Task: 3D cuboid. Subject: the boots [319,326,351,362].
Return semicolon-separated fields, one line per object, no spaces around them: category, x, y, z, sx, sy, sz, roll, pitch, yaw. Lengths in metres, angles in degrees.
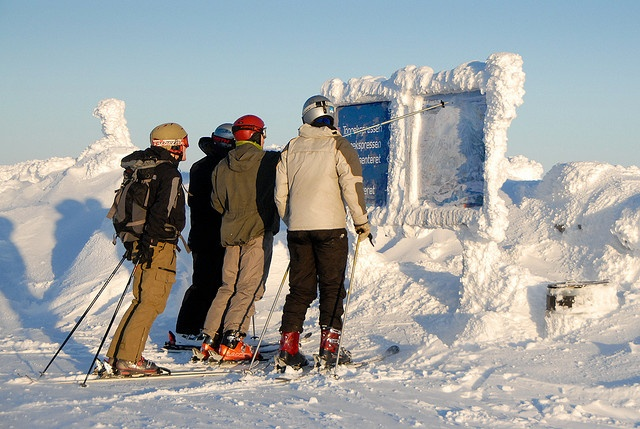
boots;0.228;1.796;12.857;0.229;0.534;0.660;5;1;38

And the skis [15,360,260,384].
skis;-2.452;2.125;12.591;2.342;0.112;0.269;0;13;-8

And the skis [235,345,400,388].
skis;-0.036;2.062;12.603;2.394;0.242;0.244;-4;30;-9

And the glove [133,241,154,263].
glove;-2.415;0.521;12.830;0.241;0.322;0.132;8;6;29
